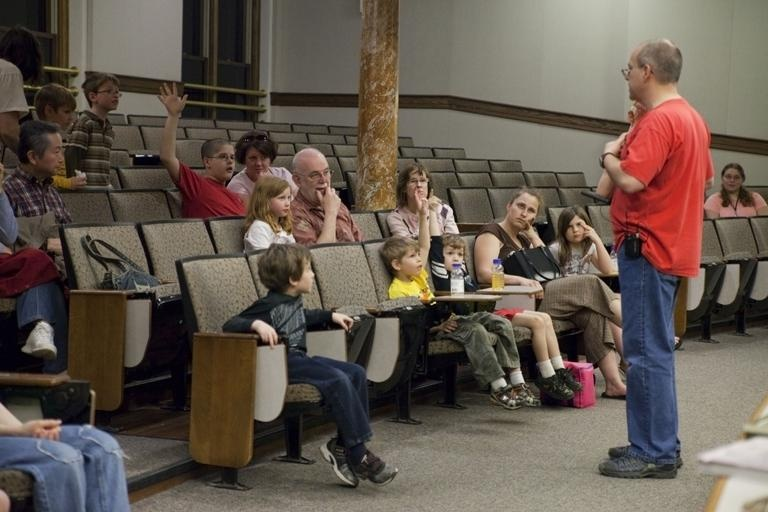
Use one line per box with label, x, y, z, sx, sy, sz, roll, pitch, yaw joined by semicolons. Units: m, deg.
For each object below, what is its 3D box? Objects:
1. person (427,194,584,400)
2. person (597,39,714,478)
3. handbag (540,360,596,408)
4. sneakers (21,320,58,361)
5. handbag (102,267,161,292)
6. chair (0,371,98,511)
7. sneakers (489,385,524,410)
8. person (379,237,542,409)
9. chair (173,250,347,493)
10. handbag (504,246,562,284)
person;0.869;0.360;4.505;1.056;1.449;0.814;-2;-1;27
person;1.211;0.021;2.965;0.442;1.957;0.315;3;6;19
handbag;1.130;0.781;4.088;0.227;0.369;0.378;-2;2;-45
sneakers;-1.665;0.403;3.151;0.098;0.140;0.279;12;-7;-28
handbag;-1.248;0.124;3.192;0.133;0.071;0.181;-2;-4;33
chair;-1.103;0.593;2.309;0.396;0.428;0.288;2;7;16
sneakers;0.687;0.805;3.644;0.172;0.094;0.111;6;9;35
person;0.407;0.384;4.084;1.058;1.480;0.685;0;1;24
chair;-0.534;0.506;3.028;0.628;0.980;0.672;-2;-3;16
handbag;0.989;0.059;4.318;0.383;0.271;0.218;-5;-10;-26
